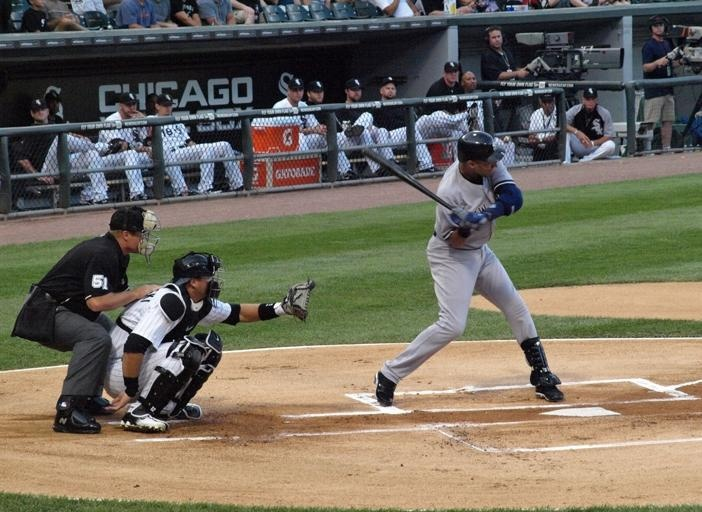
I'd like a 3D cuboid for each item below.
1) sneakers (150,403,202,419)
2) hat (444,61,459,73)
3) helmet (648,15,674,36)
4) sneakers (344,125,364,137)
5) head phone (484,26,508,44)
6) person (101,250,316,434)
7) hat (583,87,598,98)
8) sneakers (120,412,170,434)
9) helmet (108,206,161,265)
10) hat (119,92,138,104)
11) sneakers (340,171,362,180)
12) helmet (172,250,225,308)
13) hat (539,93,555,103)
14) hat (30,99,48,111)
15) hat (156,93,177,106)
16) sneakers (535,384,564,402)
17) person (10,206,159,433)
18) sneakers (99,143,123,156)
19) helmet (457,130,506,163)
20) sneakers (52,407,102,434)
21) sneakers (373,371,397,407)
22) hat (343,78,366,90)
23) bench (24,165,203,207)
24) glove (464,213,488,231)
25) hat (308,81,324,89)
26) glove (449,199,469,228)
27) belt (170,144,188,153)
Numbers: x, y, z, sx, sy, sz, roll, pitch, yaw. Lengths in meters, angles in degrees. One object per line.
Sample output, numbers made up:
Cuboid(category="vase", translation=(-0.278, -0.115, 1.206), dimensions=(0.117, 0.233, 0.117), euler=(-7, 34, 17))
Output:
Cuboid(category="sneakers", translation=(-1.488, 1.281, 11.955), dimensions=(0.416, 0.153, 0.118), euler=(8, -7, -8))
Cuboid(category="hat", translation=(1.499, -2.845, 21.182), dimensions=(0.173, 0.102, 0.221), euler=(1, 2, -16))
Cuboid(category="helmet", translation=(5.016, -3.779, 22.740), dimensions=(0.327, 0.373, 0.309), euler=(-8, -15, 12))
Cuboid(category="sneakers", translation=(0.039, -1.785, 19.983), dimensions=(0.295, 0.157, 0.059), euler=(-6, 4, -29))
Cuboid(category="head phone", translation=(2.234, -3.414, 22.031), dimensions=(0.285, 0.335, 0.281), euler=(-23, 14, -3))
Cuboid(category="person", translation=(-1.306, 0.714, 12.231), dimensions=(1.726, 1.347, 1.185), euler=(4, 1, -38))
Cuboid(category="hat", translation=(3.612, -2.450, 21.221), dimensions=(0.180, 0.159, 0.395), euler=(-4, 4, 9))
Cuboid(category="sneakers", translation=(-1.717, 1.355, 11.700), dimensions=(0.375, 0.160, 0.156), euler=(-1, -4, 6))
Cuboid(category="helmet", translation=(-1.847, -0.210, 11.866), dimensions=(0.471, 0.432, 0.367), euler=(2, -1, -10))
Cuboid(category="hat", translation=(-3.059, -2.118, 18.988), dimensions=(0.297, 0.141, 0.215), euler=(0, 11, 40))
Cuboid(category="sneakers", translation=(-0.024, -1.170, 20.294), dimensions=(0.169, 0.063, 0.155), euler=(-6, -5, 22))
Cuboid(category="helmet", translation=(-1.288, 0.118, 11.780), dimensions=(0.431, 0.348, 0.328), euler=(3, 0, 1))
Cuboid(category="hat", translation=(2.968, -2.378, 21.198), dimensions=(0.276, 0.134, 0.098), euler=(-6, 4, -31))
Cuboid(category="hat", translation=(-4.171, -2.008, 18.759), dimensions=(0.201, 0.170, 0.306), euler=(-5, 4, -11))
Cuboid(category="hat", translation=(-2.629, -2.137, 19.334), dimensions=(0.282, 0.131, 0.203), euler=(1, 9, 37))
Cuboid(category="sneakers", translation=(1.716, 1.152, 12.131), dimensions=(0.280, 0.114, 0.113), euler=(2, 11, 38))
Cuboid(category="person", translation=(-2.205, 0.460, 12.075), dimensions=(1.242, 1.780, 1.227), euler=(9, 6, 31))
Cuboid(category="sneakers", translation=(-3.169, -1.401, 18.498), dimensions=(0.251, 0.091, 0.141), euler=(-14, 2, -14))
Cuboid(category="helmet", translation=(1.089, -0.929, 11.862), dimensions=(0.360, 0.165, 0.240), euler=(-1, 34, 3))
Cuboid(category="sneakers", translation=(-2.280, 1.335, 11.666), dimensions=(0.348, 0.158, 0.201), euler=(0, 0, 8))
Cuboid(category="sneakers", translation=(0.290, 1.123, 12.089), dimensions=(0.180, 0.331, 0.130), euler=(-14, -2, 25))
Cuboid(category="hat", translation=(-0.017, -2.511, 20.610), dimensions=(0.265, 0.167, 0.349), euler=(-9, 10, -39))
Cuboid(category="bench", translation=(-3.184, -0.957, 18.608), dimensions=(1.888, 0.505, 0.698), euler=(-3, 3, -18))
Cuboid(category="glove", translation=(1.067, -0.310, 11.847), dimensions=(0.247, 0.150, 0.078), euler=(-6, 4, -26))
Cuboid(category="hat", translation=(-0.553, -2.459, 20.427), dimensions=(0.184, 0.111, 0.243), euler=(-14, 15, -42))
Cuboid(category="glove", translation=(0.912, -0.350, 11.829), dimensions=(0.148, 0.176, 0.084), euler=(0, 6, 45))
Cuboid(category="belt", translation=(-2.325, -1.462, 18.998), dimensions=(0.055, 0.070, 0.240), euler=(-15, -5, 43))
